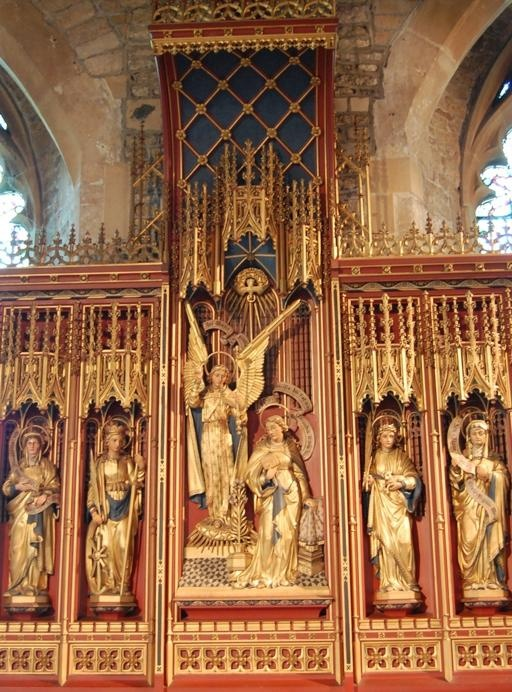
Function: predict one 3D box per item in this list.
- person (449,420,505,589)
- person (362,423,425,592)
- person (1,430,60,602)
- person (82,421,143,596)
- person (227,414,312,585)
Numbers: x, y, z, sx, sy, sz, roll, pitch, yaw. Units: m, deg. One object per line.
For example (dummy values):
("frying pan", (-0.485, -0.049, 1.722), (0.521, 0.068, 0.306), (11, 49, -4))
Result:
("person", (1.817, 1.294, 8.747), (0.478, 1.487, 0.293), (-4, -11, 18))
("person", (1.118, 1.322, 8.799), (0.467, 1.447, 0.355), (-3, -10, 11))
("person", (-1.870, 1.435, 8.881), (0.460, 1.441, 0.358), (2, -10, -16))
("person", (-1.164, 1.387, 8.854), (0.477, 1.487, 0.333), (0, -10, -6))
("person", (0.138, 1.260, 8.769), (0.627, 1.388, 0.365), (-2, -10, 2))
